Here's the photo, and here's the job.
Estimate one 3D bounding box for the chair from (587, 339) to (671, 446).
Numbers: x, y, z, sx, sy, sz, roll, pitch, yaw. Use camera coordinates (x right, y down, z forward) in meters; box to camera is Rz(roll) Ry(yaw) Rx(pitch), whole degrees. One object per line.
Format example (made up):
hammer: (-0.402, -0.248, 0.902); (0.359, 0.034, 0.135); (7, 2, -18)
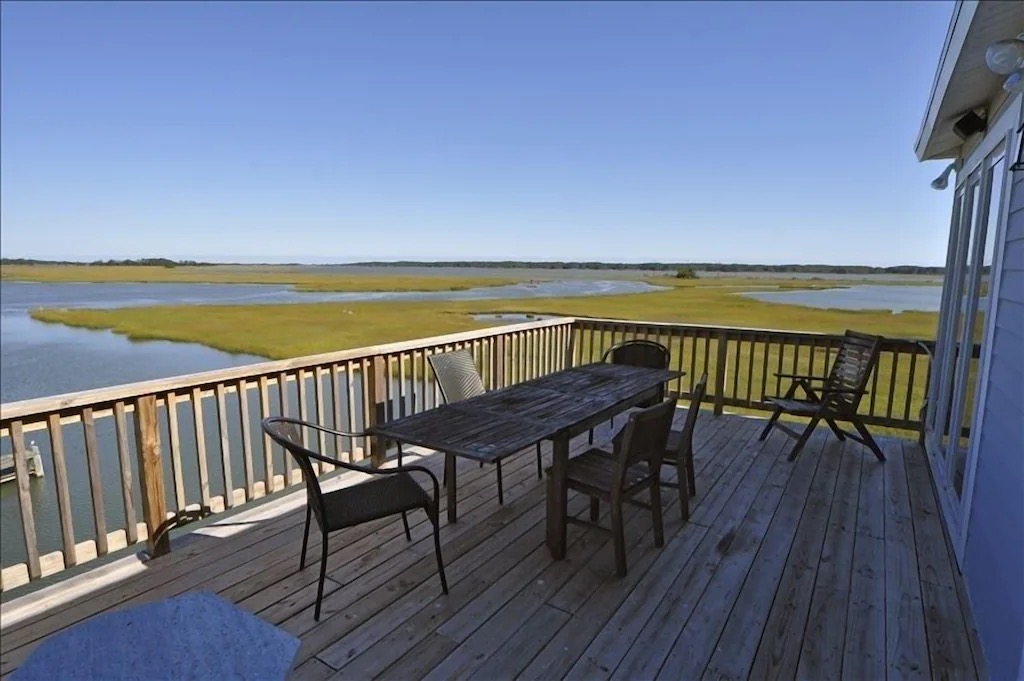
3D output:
chair: (1.156, 0.624, 6.104); (0.828, 1.184, 0.767); (11, 20, 38)

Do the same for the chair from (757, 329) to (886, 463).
chair: (3.236, 0.580, 6.341); (1.294, 1.478, 1.087); (2, 13, 20)

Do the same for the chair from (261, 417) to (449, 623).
chair: (-1.101, 1.127, 4.100); (1.080, 1.166, 0.904); (-4, 10, -25)

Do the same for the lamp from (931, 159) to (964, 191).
lamp: (4.507, -1.711, 6.083); (0.196, 0.261, 0.489); (4, 10, 30)

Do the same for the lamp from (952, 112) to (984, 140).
lamp: (3.964, -1.866, 5.048); (0.154, 0.255, 0.144); (36, -5, 45)
